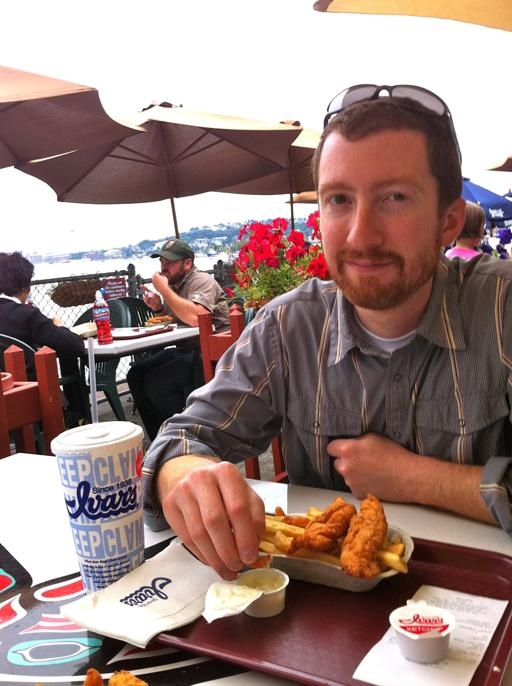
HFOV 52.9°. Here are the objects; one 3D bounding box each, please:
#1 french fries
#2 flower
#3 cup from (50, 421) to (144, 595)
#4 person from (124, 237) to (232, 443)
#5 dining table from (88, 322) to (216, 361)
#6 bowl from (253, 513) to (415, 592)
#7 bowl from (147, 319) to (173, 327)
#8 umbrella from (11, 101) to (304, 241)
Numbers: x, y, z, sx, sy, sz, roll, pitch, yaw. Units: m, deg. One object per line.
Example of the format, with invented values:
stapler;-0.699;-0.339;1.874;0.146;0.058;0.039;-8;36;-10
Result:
french fries;0.136;0.290;0.842;0.206;0.106;0.182;-2;6;-29
flower;0.143;-0.494;3.112;0.512;0.619;0.570;0;10;4
cup;-0.230;0.264;0.808;0.141;0.233;0.145;-6;-3;0
person;-0.808;-0.051;5.335;1.087;2.195;0.875;-5;5;-39
dining table;-0.929;-0.070;4.746;1.035;0.279;0.934;0;9;21
bowl;0.137;0.311;0.839;0.174;0.087;0.151;-2;6;-25
bowl;-0.981;-0.216;5.312;0.165;0.063;0.165;0;5;0
umbrella;-0.927;-2.020;5.383;1.995;0.859;1.777;-11;-1;-19
